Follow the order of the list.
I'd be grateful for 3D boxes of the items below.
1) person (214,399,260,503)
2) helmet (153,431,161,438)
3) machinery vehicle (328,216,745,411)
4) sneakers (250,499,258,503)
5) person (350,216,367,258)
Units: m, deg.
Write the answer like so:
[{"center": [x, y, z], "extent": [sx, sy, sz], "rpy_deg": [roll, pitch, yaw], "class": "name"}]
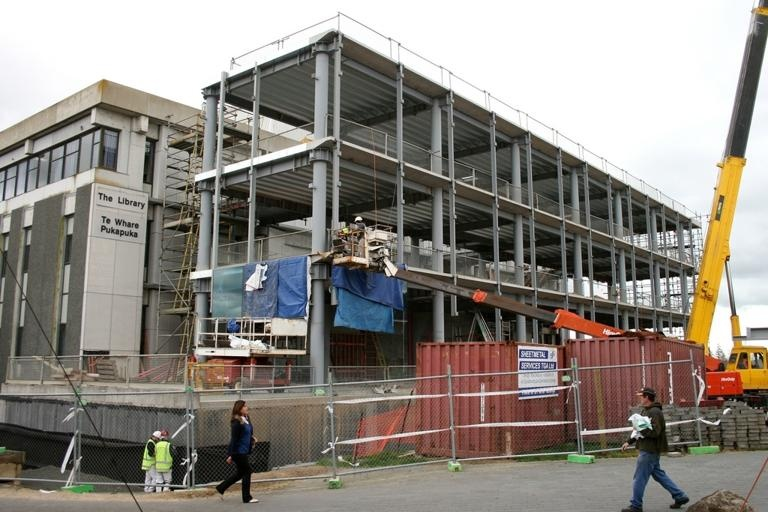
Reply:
[{"center": [-4.434, 5.966, 25.391], "extent": [1.175, 3.072, 1.343], "rpy_deg": [2, -14, -11], "class": "person"}, {"center": [-8.093, 6.334, 29.384], "extent": [0.367, 0.260, 0.252], "rpy_deg": [3, -5, 1], "class": "helmet"}, {"center": [7.470, 2.981, 40.526], "extent": [20.534, 8.312, 14.780], "rpy_deg": [0, -12, -4], "class": "machinery vehicle"}, {"center": [-3.896, 7.390, 25.029], "extent": [0.271, 0.117, 0.308], "rpy_deg": [-1, -12, -1], "class": "sneakers"}, {"center": [-1.297, -0.840, 38.154], "extent": [0.934, 0.594, 2.237], "rpy_deg": [1, -52, 3], "class": "person"}]
